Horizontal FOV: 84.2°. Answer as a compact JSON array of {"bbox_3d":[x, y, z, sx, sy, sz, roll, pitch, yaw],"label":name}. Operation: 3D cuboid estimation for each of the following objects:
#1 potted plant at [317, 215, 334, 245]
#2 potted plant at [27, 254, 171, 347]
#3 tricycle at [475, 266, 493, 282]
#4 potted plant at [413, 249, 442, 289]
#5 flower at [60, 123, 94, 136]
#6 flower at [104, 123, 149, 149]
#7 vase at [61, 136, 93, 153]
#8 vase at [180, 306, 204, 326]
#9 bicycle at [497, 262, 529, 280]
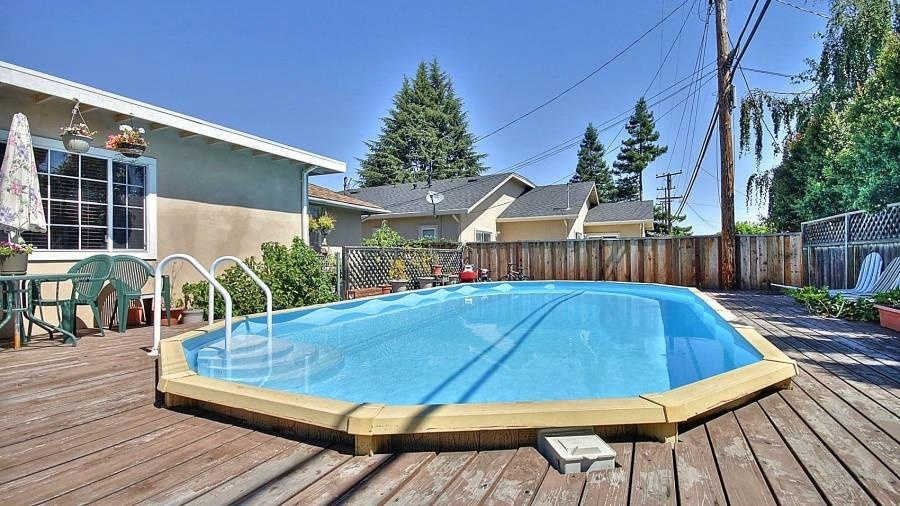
[{"bbox_3d":[-4.321,-0.807,17.532,0.442,1.119,1.417,0,12,-8],"label":"potted plant"},{"bbox_3d":[-8.083,1.184,11.029,2.232,2.332,1.935,-4,-10,15],"label":"potted plant"},{"bbox_3d":[1.337,0.857,19.872,0.451,0.590,0.567,-2,-2,24],"label":"tricycle"},{"bbox_3d":[-0.818,0.576,17.324,0.574,1.267,1.384,-4,-6,31],"label":"potted plant"},{"bbox_3d":[-8.293,-2.722,11.011,0.454,0.194,0.518,4,-4,16],"label":"flower"},{"bbox_3d":[-7.214,-2.651,11.366,0.765,0.502,0.963,1,-4,5],"label":"flower"},{"bbox_3d":[-8.185,-2.388,10.941,0.492,0.376,0.538,-6,14,-34],"label":"vase"},{"bbox_3d":[-6.099,1.503,11.799,0.424,0.281,0.404,3,-5,-36],"label":"vase"},{"bbox_3d":[2.530,0.760,19.961,1.001,0.591,0.602,1,-1,13],"label":"bicycle"}]
